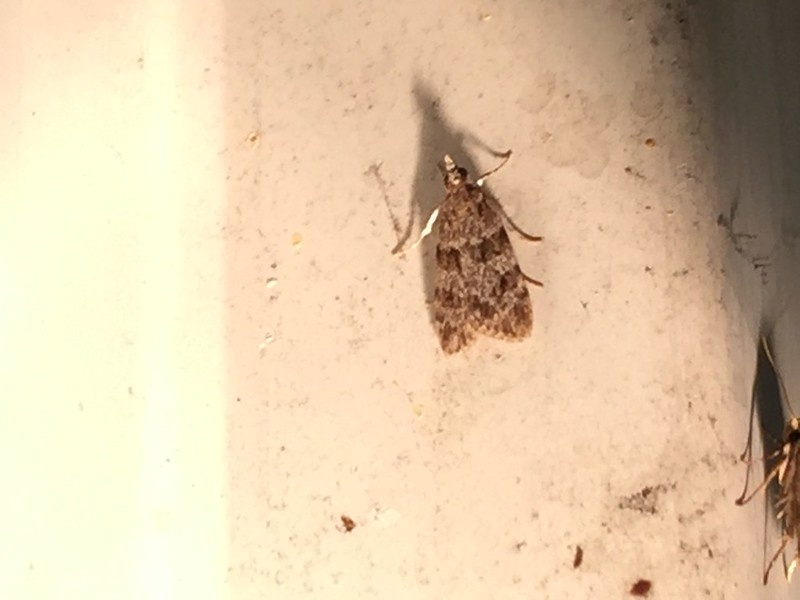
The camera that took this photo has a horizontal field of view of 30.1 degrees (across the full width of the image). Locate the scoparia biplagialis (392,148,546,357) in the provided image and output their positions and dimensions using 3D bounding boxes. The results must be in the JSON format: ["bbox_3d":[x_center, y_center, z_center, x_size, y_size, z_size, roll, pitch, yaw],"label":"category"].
[{"bbox_3d":[0.286,-0.180,5.609,0.355,0.729,0.087,-6,6,1],"label":"scoparia biplagialis"}]
